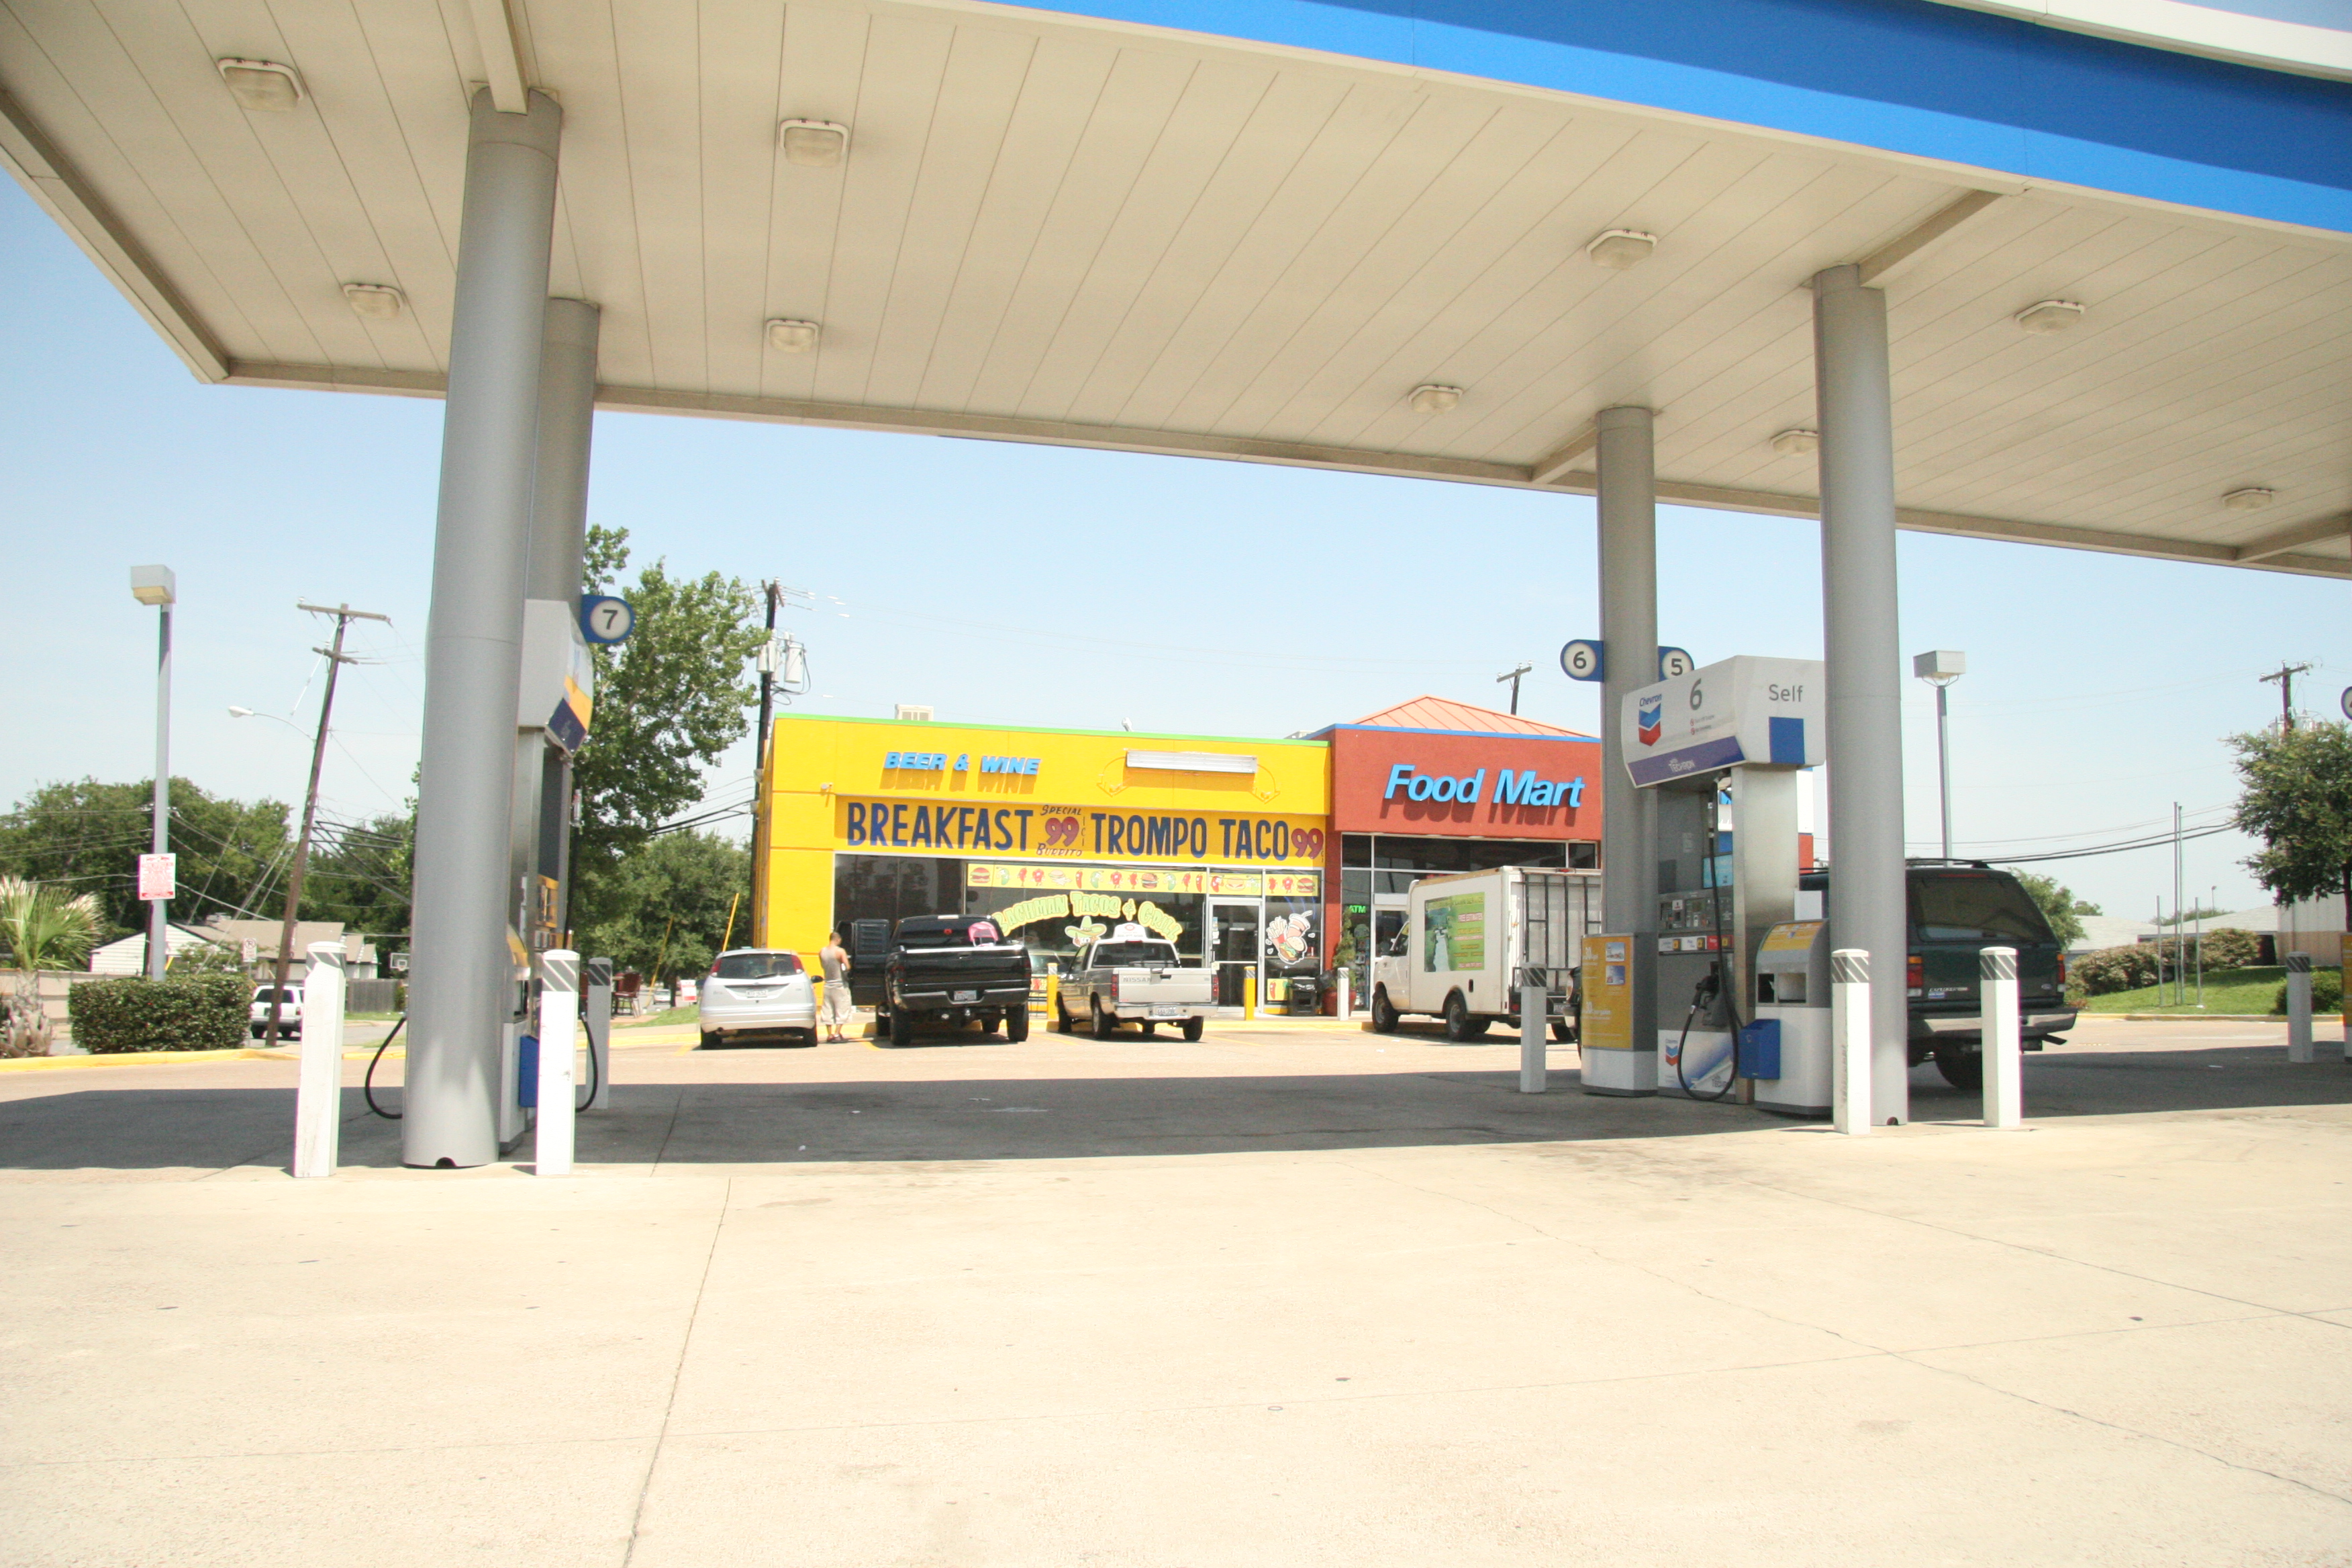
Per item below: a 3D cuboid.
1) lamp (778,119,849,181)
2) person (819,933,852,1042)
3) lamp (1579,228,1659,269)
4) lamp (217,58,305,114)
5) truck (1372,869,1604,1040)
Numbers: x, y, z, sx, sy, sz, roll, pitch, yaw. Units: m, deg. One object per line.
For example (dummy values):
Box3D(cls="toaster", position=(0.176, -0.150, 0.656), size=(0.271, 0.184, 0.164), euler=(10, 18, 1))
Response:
Box3D(cls="lamp", position=(-2.829, -4.926, 14.246), size=(0.560, 0.190, 0.673), euler=(0, -7, -11))
Box3D(cls="person", position=(-5.698, 3.445, 30.626), size=(0.459, 1.568, 1.660), euler=(0, -6, -11))
Box3D(cls="lamp", position=(3.691, -4.497, 15.401), size=(0.603, 0.135, 0.561), euler=(-3, -7, 15))
Box3D(cls="lamp", position=(-6.716, -5.125, 13.484), size=(0.588, 0.179, 0.535), euler=(-1, -6, -5))
Box3D(cls="truck", position=(4.995, 2.916, 30.310), size=(2.041, 2.194, 5.843), euler=(6, -8, -14))
